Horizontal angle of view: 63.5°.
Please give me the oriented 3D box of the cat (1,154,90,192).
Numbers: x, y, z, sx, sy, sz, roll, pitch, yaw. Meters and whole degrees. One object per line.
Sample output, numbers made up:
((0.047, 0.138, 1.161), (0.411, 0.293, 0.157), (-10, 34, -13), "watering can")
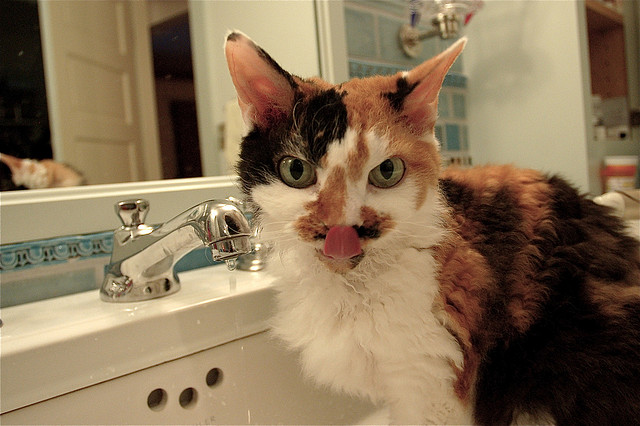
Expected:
((-0.636, -0.078, 1.223), (0.202, 0.098, 0.058), (8, -22, -22), "cat")
